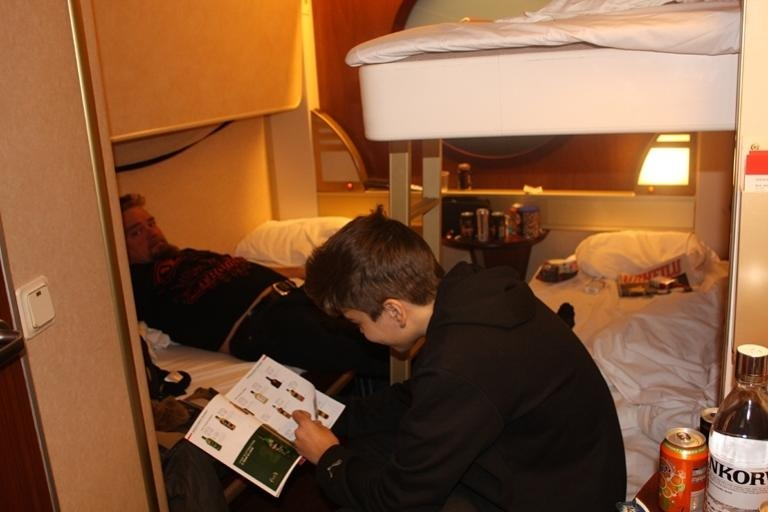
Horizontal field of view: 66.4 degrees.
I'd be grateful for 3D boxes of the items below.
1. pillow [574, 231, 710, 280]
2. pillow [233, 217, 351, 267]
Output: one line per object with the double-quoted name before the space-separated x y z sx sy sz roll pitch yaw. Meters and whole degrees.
"pillow" 1.320 -0.019 2.983 0.429 0.126 0.327 -2 31 18
"pillow" -0.582 -0.073 3.363 0.469 0.142 0.393 4 29 16
